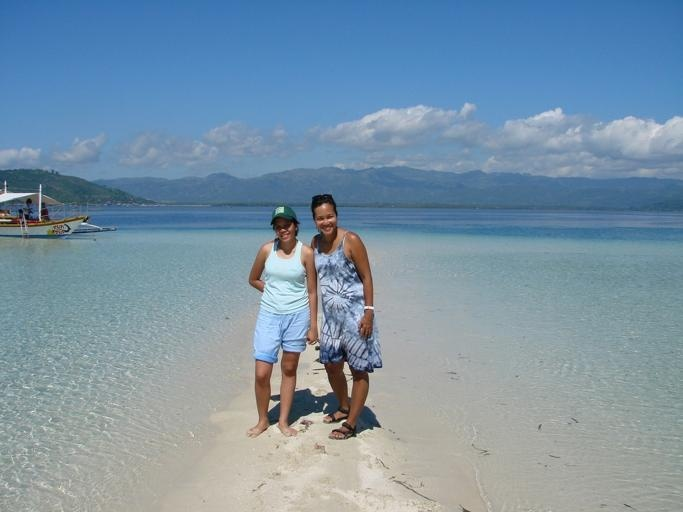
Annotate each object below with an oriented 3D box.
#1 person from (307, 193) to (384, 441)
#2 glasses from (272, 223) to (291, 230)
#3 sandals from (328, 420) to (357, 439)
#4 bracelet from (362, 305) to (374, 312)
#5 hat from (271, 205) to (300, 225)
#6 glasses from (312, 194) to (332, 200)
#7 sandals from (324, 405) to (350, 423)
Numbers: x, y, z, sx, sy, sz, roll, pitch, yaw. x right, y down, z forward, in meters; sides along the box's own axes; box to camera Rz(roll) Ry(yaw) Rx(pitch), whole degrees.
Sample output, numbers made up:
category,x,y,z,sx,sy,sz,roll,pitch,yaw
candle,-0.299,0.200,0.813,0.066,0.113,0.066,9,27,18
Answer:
category,x,y,z,sx,sy,sz,roll,pitch,yaw
person,0.048,0.922,7.339,1.004,3.565,0.660,12,17,41
glasses,-0.819,-0.395,7.139,0.160,0.101,0.236,-6,-4,-8
sandals,0.025,2.516,7.510,0.370,0.142,0.206,10,-11,-42
bracelet,0.365,0.728,7.160,0.107,0.051,0.095,0,-2,25
hat,-0.785,-0.602,7.201,0.385,0.256,0.594,-4,-3,1
glasses,-0.255,-0.800,7.088,0.141,0.056,0.150,-1,-1,0
sandals,-0.084,2.437,7.999,0.444,0.161,0.168,2,-3,-15
